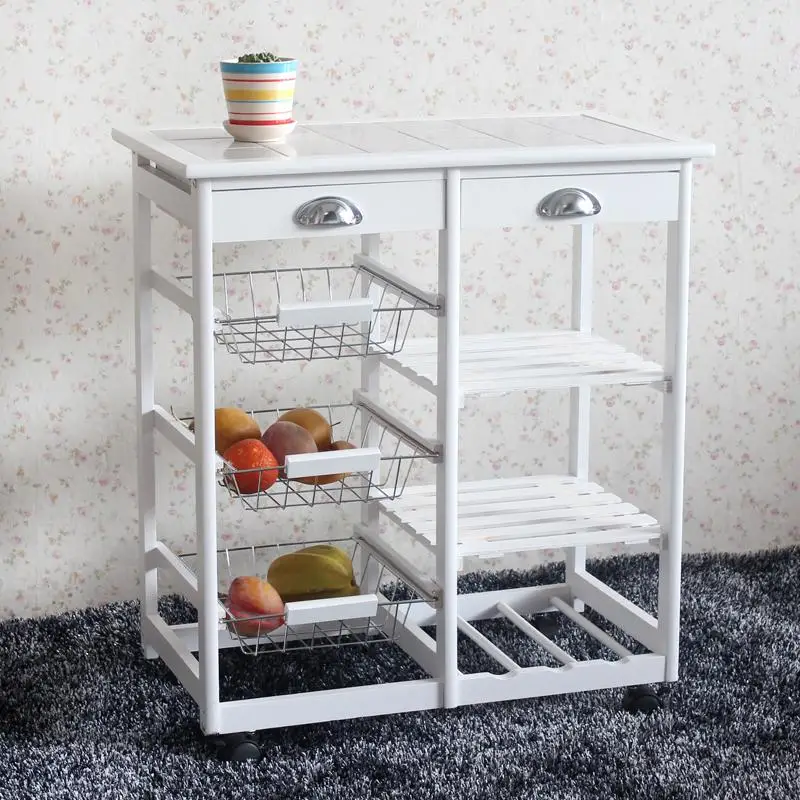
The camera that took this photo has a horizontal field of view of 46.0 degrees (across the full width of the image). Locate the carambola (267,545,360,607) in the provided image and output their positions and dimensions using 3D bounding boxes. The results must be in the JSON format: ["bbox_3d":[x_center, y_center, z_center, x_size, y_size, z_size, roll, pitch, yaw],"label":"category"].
[{"bbox_3d":[-0.139,0.290,1.559,0.128,0.080,0.085,-4,13,5],"label":"carambola"}]

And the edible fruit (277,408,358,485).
[{"bbox_3d":[-0.141,0.094,1.594,0.165,0.105,0.106,9,39,-9],"label":"edible fruit"}]

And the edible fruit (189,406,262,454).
[{"bbox_3d":[-0.267,0.052,1.451,0.112,0.076,0.083,5,-18,-11],"label":"edible fruit"}]

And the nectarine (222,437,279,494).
[{"bbox_3d":[-0.231,0.103,1.432,0.087,0.077,0.094,-8,16,-40],"label":"nectarine"}]

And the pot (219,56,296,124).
[{"bbox_3d":[-0.204,-0.451,1.377,0.113,0.071,0.106,0,13,0],"label":"pot"}]

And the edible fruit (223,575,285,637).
[{"bbox_3d":[-0.224,0.327,1.474,0.089,0.107,0.191,-1,11,-8],"label":"edible fruit"}]
